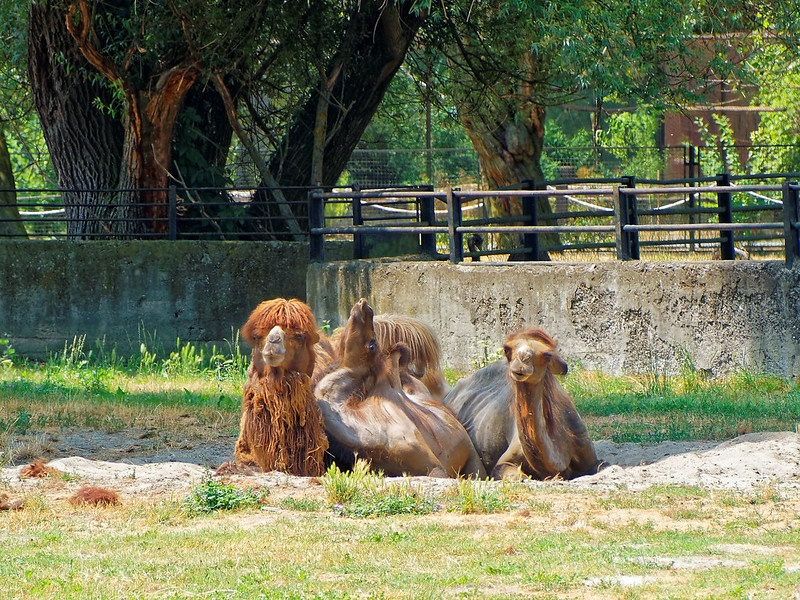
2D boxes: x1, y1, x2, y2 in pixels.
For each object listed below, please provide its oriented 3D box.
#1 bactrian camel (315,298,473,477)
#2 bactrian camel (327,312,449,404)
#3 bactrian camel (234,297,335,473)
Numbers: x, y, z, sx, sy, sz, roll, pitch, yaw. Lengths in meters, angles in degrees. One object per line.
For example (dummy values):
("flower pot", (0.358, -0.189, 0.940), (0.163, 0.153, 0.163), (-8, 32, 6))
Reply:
("bactrian camel", (-0.137, 1.168, 25.225), (1.872, 2.245, 0.891), (-1, 13, -3))
("bactrian camel", (0.033, 0.587, 25.972), (1.220, 1.141, 0.957), (30, -5, -12))
("bactrian camel", (-1.447, 1.114, 24.933), (1.083, 2.046, 0.496), (-1, 13, -3))
